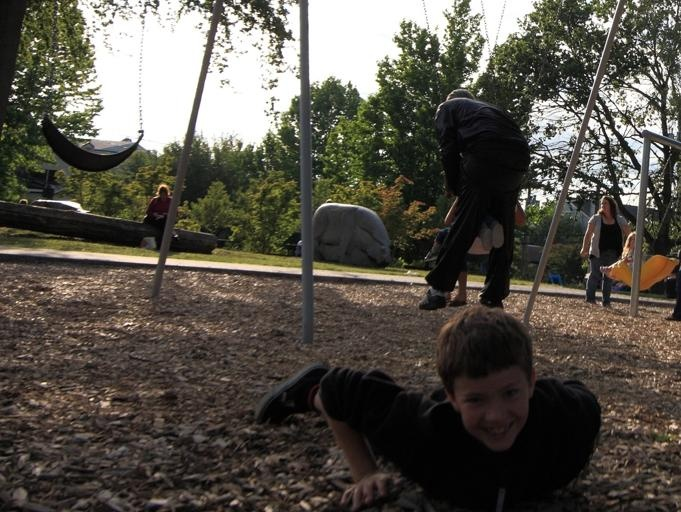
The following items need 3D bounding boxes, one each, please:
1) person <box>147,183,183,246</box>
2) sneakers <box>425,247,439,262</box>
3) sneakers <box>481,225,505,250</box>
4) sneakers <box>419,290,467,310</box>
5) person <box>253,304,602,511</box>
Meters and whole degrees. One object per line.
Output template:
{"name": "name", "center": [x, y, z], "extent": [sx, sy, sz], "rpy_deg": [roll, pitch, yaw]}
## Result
{"name": "person", "center": [-3.493, -0.796, 10.613], "extent": [0.504, 1.058, 0.907], "rpy_deg": [-2, 13, -20]}
{"name": "sneakers", "center": [0.728, -0.018, 4.319], "extent": [0.102, 0.119, 0.093], "rpy_deg": [-1, -1, -19]}
{"name": "sneakers", "center": [1.064, -0.137, 3.813], "extent": [0.081, 0.248, 0.098], "rpy_deg": [3, 30, 6]}
{"name": "sneakers", "center": [0.921, 0.366, 4.638], "extent": [0.496, 0.212, 0.162], "rpy_deg": [2, -1, -11]}
{"name": "person", "center": [0.341, 0.462, 2.128], "extent": [0.800, 0.401, 0.898], "rpy_deg": [0, -9, -7]}
